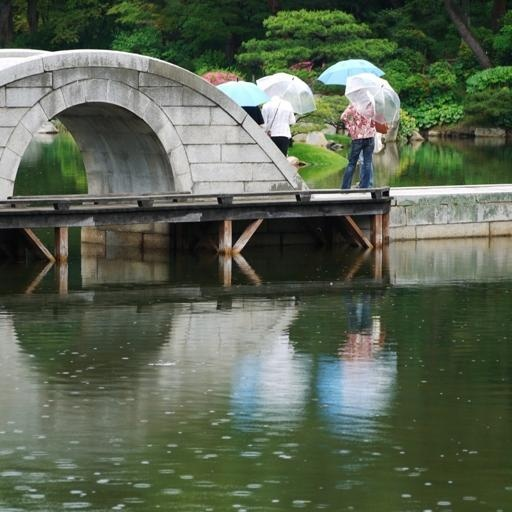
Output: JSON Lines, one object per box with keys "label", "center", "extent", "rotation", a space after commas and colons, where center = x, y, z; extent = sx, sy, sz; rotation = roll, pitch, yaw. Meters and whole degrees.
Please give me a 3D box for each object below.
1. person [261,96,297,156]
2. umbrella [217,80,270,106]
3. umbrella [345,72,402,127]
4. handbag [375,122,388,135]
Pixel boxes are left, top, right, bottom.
{"label": "person", "center": [0.390, -2.154, 23.261], "extent": [0.534, 0.947, 0.941], "rotation": [0, 9, 0]}
{"label": "umbrella", "center": [-0.184, -2.629, 22.884], "extent": [0.745, 0.400, 0.974], "rotation": [2, 10, 12]}
{"label": "umbrella", "center": [1.793, -2.558, 22.020], "extent": [0.762, 0.817, 0.318], "rotation": [19, -41, -36]}
{"label": "handbag", "center": [2.002, -2.007, 22.063], "extent": [0.183, 0.151, 0.166], "rotation": [-8, 12, -29]}
